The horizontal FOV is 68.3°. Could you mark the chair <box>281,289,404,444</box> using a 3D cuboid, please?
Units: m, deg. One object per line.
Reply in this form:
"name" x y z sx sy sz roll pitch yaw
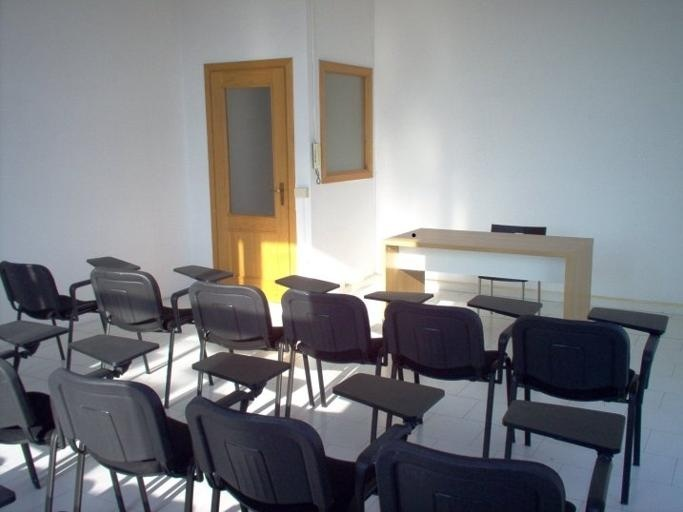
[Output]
"chair" -0.002 0.592 3.429 0.758 1.235 0.786 3 11 21
